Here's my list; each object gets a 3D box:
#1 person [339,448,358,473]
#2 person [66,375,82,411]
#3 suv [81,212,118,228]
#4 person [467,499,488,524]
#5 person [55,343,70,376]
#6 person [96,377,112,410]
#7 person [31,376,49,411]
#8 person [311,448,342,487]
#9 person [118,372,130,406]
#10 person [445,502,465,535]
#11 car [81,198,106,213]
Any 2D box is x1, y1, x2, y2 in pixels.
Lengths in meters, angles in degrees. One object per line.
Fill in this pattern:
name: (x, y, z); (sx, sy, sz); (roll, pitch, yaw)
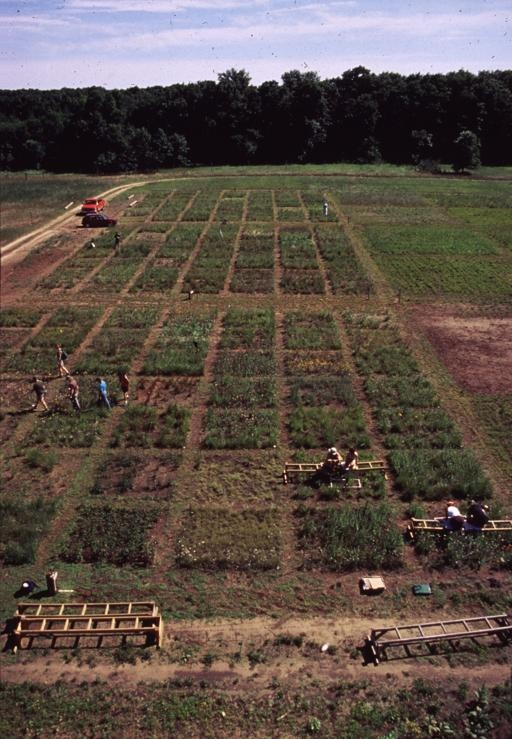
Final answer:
person: (3.032, 3.013, 19.135); (0.320, 0.754, 1.038); (3, 22, 5)
person: (-6.991, 0.717, 22.993); (0.449, 1.194, 2.146); (-6, 20, -18)
suv: (-11.603, -11.390, 44.360); (2.055, 1.016, 1.232); (-2, 42, -2)
person: (6.295, 4.139, 17.068); (0.545, 0.339, 0.795); (10, 41, 1)
person: (-7.980, -0.426, 24.723); (0.457, 1.374, 1.551); (-7, 19, -19)
person: (-5.815, 0.826, 22.900); (0.432, 1.141, 1.635); (-6, 19, -16)
person: (-8.220, 0.837, 22.806); (0.487, 1.205, 2.110); (-7, 20, -20)
person: (2.356, 3.292, 18.850); (0.911, 0.497, 1.190); (2, 34, 4)
person: (-5.085, 0.545, 23.368); (0.378, 1.255, 1.866); (-4, 19, -12)
person: (5.690, 4.268, 17.190); (0.492, 0.316, 0.871); (2, 43, -3)
car: (-12.757, -13.092, 47.359); (1.034, 0.843, 2.459); (1, 28, 0)
